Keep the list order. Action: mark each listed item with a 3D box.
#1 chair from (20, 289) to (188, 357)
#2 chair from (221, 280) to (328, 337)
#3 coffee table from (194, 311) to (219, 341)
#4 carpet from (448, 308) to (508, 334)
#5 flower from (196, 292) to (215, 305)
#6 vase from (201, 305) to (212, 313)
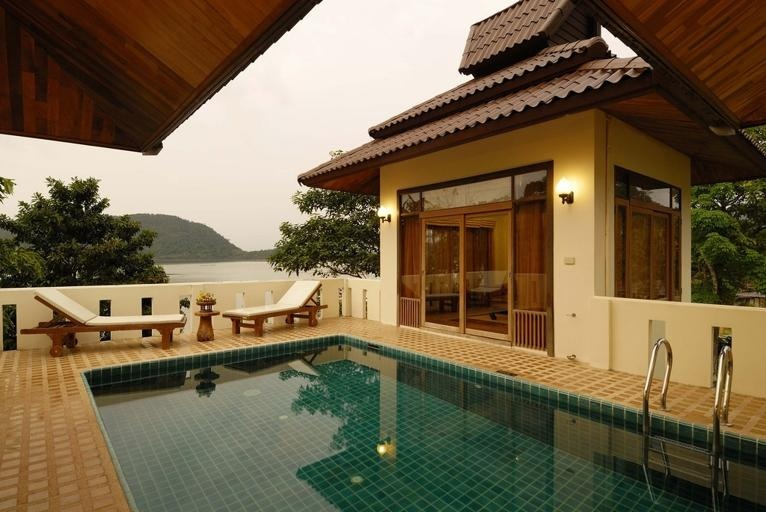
[{"bbox_3d":[-5.002,1.210,8.773,2.403,1.086,1.131,0,2,-15],"label":"chair"},{"bbox_3d":[-2.337,1.127,10.438,0.966,1.037,2.049,0,1,41],"label":"chair"},{"bbox_3d":[-3.472,1.381,9.456,0.408,0.560,0.501,-1,12,-5],"label":"coffee table"},{"bbox_3d":[2.018,1.274,9.264,0.168,0.416,0.795,-2,4,-43],"label":"carpet"},{"bbox_3d":[-3.495,0.862,9.517,0.310,0.193,0.308,0,-5,-12],"label":"flower"},{"bbox_3d":[-3.500,1.066,9.578,0.145,0.109,0.149,-2,-4,37],"label":"vase"}]
